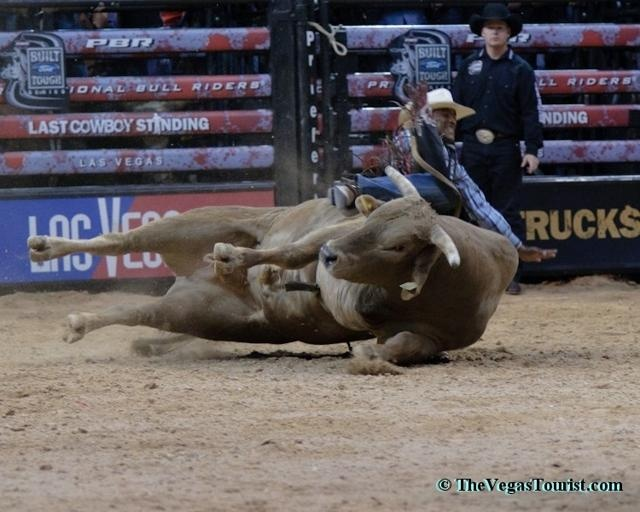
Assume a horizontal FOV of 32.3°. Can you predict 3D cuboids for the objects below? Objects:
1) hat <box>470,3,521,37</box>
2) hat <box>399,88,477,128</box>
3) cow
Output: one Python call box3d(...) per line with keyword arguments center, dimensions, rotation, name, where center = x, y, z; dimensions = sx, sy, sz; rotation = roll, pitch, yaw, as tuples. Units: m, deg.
box3d(center=(1.538, -2.085, 9.718), dimensions=(0.425, 0.117, 0.375), rotation=(1, -16, 7), name="hat")
box3d(center=(0.788, -1.066, 7.787), dimensions=(0.516, 0.119, 0.405), rotation=(-6, -9, 28), name="hat")
box3d(center=(-0.101, 0.047, 7.241), dimensions=(2.672, 1.282, 1.523), rotation=(3, 9, 23), name="cow")
